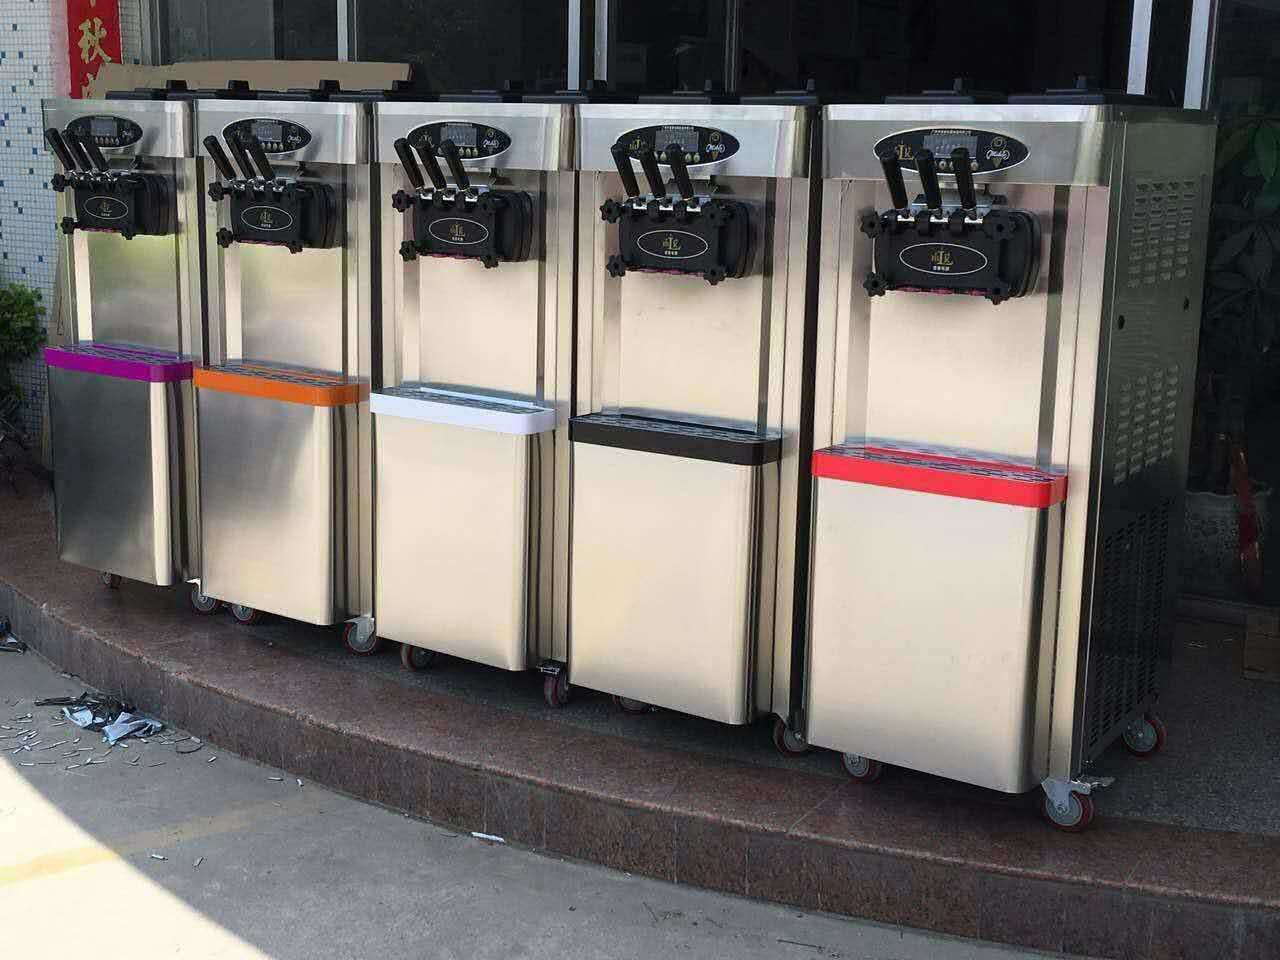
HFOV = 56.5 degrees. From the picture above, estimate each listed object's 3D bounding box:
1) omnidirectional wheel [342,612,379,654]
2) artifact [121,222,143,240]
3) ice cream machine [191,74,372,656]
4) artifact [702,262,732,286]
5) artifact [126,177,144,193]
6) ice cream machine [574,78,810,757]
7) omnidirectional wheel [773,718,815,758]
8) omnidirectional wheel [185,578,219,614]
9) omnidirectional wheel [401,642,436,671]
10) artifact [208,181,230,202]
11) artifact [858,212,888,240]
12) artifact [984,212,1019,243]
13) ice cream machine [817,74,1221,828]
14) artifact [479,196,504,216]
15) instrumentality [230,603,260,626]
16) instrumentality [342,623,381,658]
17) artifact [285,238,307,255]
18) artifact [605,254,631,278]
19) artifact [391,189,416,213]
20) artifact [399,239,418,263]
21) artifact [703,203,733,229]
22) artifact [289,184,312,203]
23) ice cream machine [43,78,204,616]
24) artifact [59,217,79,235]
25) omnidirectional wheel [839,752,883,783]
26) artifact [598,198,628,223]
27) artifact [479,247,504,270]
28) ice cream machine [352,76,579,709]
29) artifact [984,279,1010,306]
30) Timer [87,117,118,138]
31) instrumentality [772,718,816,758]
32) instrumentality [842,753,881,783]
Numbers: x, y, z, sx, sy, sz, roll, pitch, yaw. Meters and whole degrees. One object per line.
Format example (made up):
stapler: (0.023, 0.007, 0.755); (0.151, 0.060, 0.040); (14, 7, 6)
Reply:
omnidirectional wheel: (-0.881, 0.483, 3.761); (0.132, 0.139, 0.039); (5, 9, 20)
artifact: (-1.649, -0.795, 3.829); (0.048, 0.072, 0.064); (1, 7, 4)
ice cream machine: (-1.134, -0.311, 3.741); (0.687, 1.695, 0.346); (7, 18, 30)
artifact: (0.195, -0.517, 3.013); (0.060, 0.051, 0.056); (9, 20, 35)
artifact: (-1.607, -0.932, 3.793); (0.042, 0.047, 0.031); (18, 1, 26)
ice cream machine: (0.126, -0.149, 3.178); (0.693, 1.654, 0.486); (0, 16, 9)
omnidirectional wheel: (0.411, 0.683, 3.160); (0.123, 0.129, 0.045); (2, 9, -4)
omnidirectional wheel: (-1.478, 0.394, 4.015); (0.123, 0.129, 0.048); (3, 10, 34)
omnidirectional wheel: (-0.683, 0.542, 3.655); (0.043, 0.105, 0.098); (12, 5, 42)
artifact: (-1.295, -0.877, 3.645); (0.049, 0.047, 0.069); (-14, 20, -35)
artifact: (0.567, -0.610, 2.885); (0.064, 0.066, 0.155); (0, 17, 10)
artifact: (0.819, -0.568, 2.681); (0.074, 0.068, 0.053); (2, 9, 11)
ice cream machine: (0.913, -0.058, 2.946); (0.996, 1.697, 0.692); (0, 16, 8)
artifact: (-0.403, -0.743, 3.244); (0.059, 0.046, 0.023); (3, 15, 21)
instrumentality: (-1.309, 0.445, 3.946); (0.077, 0.080, 0.023); (14, 22, 42)
instrumentality: (-0.878, 0.508, 3.766); (0.110, 0.116, 0.034); (5, 9, 17)
artifact: (-1.037, -0.693, 3.574); (0.037, 0.019, 0.053); (2, -12, -13)
artifact: (-0.062, -0.560, 3.129); (0.066, 0.054, 0.041); (1, 17, 12)
artifact: (-0.667, -0.782, 3.367); (0.074, 0.057, 0.055); (-2, 5, -26)
artifact: (-0.665, -0.656, 3.415); (0.066, 0.056, 0.051); (-1, 16, 5)
artifact: (0.192, -0.652, 2.966); (0.065, 0.059, 0.041); (-4, 16, -4)
artifact: (-0.996, -0.831, 3.492); (0.053, 0.058, 0.041); (5, 12, 38)
ice cream machine: (-1.734, -0.452, 3.978); (0.642, 1.570, 0.356); (6, 18, 28)
artifact: (-1.899, -0.825, 3.958); (0.053, 0.079, 0.025); (0, -20, -4)
omnidirectional wheel: (0.571, 0.733, 3.043); (0.038, 0.094, 0.090); (-10, 13, -42)
artifact: (-0.070, -0.699, 3.132); (0.065, 0.062, 0.112); (-4, 17, -6)
artifact: (-0.413, -0.608, 3.284); (0.045, 0.062, 0.063); (-3, 12, -25)
ice cream machine: (-0.519, -0.215, 3.453); (0.711, 1.688, 0.341); (6, 18, 26)
artifact: (0.811, -0.427, 2.722); (0.052, 0.057, 0.041); (-2, 8, -15)
Timer: (-1.755, -1.147, 3.876); (0.079, 0.077, 0.020); (8, 13, 18)
instrumentality: (0.412, 0.683, 3.159); (0.124, 0.130, 0.045); (3, 8, -4)
instrumentality: (0.572, 0.733, 3.041); (0.037, 0.092, 0.088); (-11, 13, -42)
